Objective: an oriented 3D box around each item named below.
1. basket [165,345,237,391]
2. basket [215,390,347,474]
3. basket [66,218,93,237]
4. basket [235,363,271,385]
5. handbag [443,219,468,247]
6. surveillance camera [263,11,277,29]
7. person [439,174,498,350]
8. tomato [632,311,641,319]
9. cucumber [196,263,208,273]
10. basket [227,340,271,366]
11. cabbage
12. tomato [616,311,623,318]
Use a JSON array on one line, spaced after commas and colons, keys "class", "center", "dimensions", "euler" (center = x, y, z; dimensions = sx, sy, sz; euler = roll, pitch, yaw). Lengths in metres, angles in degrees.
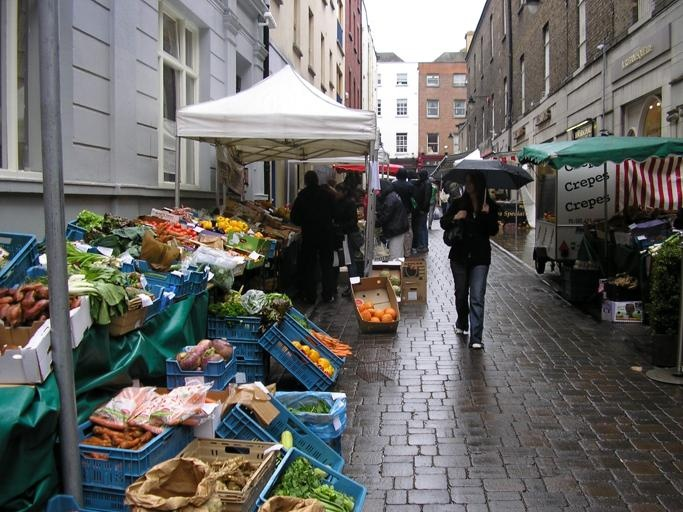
[{"class": "basket", "center": [-1.244, 0.987, 4.824], "dimensions": [0.460, 0.384, 0.522], "euler": [0, 1, 2]}, {"class": "basket", "center": [-0.426, 1.304, 3.910], "dimensions": [0.785, 0.264, 0.496], "euler": [38, 3, 6]}, {"class": "basket", "center": [-2.946, -0.304, 6.032], "dimensions": [0.198, 0.141, 0.215], "euler": [2, -3, 0]}, {"class": "basket", "center": [-0.925, 1.210, 5.664], "dimensions": [0.237, 0.170, 0.258], "euler": [0, -1, 4]}, {"class": "handbag", "center": [1.588, -0.322, 7.541], "dimensions": [0.360, 0.387, 0.196], "euler": [2, 7, 29]}, {"class": "surveillance camera", "center": [-1.850, -6.153, 13.969], "dimensions": [0.201, 0.331, 0.644], "euler": [-1, 6, 3]}, {"class": "person", "center": [1.823, 0.060, 7.752], "dimensions": [0.799, 2.387, 0.976], "euler": [0, 2, 8]}, {"class": "tomato", "center": [4.829, 0.958, 8.790], "dimensions": [0.126, 0.158, 0.055], "euler": [3, 7, 34]}, {"class": "cucumber", "center": [-1.507, 0.136, 5.797], "dimensions": [0.113, 0.035, 0.113], "euler": [28, 11, -39]}, {"class": "basket", "center": [-0.952, 0.983, 5.584], "dimensions": [0.260, 0.191, 0.282], "euler": [0, -1, 1]}, {"class": "cabbage", "center": [-1.953, 0.231, 4.308], "dimensions": [0.451, 0.189, 0.473], "euler": [29, 22, -22]}, {"class": "tomato", "center": [4.563, 0.955, 8.799], "dimensions": [0.086, 0.052, 0.094], "euler": [5, -17, 8]}]
